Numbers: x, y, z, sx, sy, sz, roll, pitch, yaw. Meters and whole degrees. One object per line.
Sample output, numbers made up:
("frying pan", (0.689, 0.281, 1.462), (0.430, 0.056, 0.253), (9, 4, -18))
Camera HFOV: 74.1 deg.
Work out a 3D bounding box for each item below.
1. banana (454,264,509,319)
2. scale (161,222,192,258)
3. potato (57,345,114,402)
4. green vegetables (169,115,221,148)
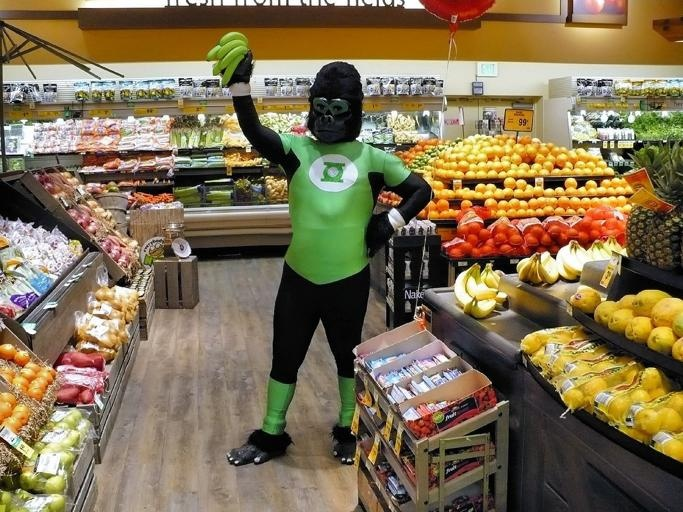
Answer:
("banana", (0.633, 0.159, 2.027), (0.189, 0.122, 0.253), (9, 31, -3))
("scale", (-1.875, -0.189, 5.142), (0.259, 0.331, 0.491), (-5, 13, -20))
("potato", (-1.465, 0.631, 2.547), (0.235, 0.102, 0.337), (3, 4, -11))
("green vegetables", (-2.415, -2.089, 7.555), (0.582, 0.262, 0.775), (0, 5, -8))
